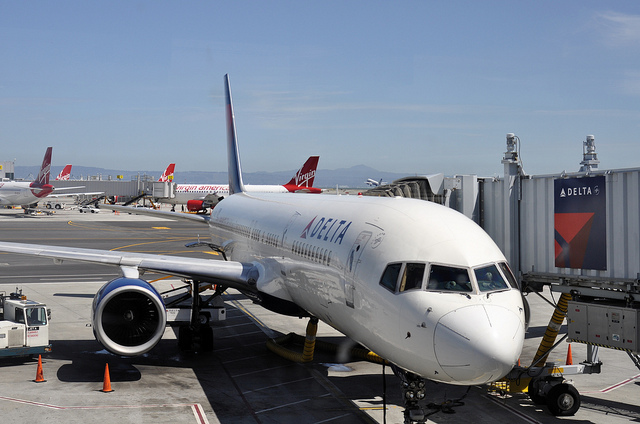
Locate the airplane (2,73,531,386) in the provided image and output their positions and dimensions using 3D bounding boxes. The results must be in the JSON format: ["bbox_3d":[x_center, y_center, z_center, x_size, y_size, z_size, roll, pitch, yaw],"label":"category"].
[{"bbox_3d":[-1.373,2.282,21.253,8.955,5.644,16.016,-3,7,-34],"label":"airplane"}]
